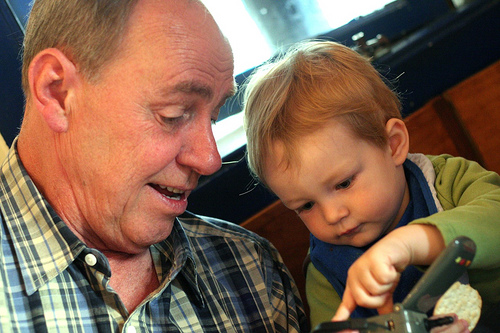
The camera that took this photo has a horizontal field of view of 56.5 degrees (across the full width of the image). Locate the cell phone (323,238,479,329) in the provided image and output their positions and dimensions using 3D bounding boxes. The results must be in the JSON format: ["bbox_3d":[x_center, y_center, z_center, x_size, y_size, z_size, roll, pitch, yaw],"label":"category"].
[{"bbox_3d":[0.341,0.258,1.024,0.342,0.127,0.089,-30,-46,13],"label":"cell phone"}]

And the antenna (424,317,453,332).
[{"bbox_3d":[0.372,0.307,0.922,0.052,0.019,0.028,-14,25,-4],"label":"antenna"}]

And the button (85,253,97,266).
[{"bbox_3d":[-0.386,0.225,1.135,0.026,0.025,0.003,-30,-8,9],"label":"button"}]
